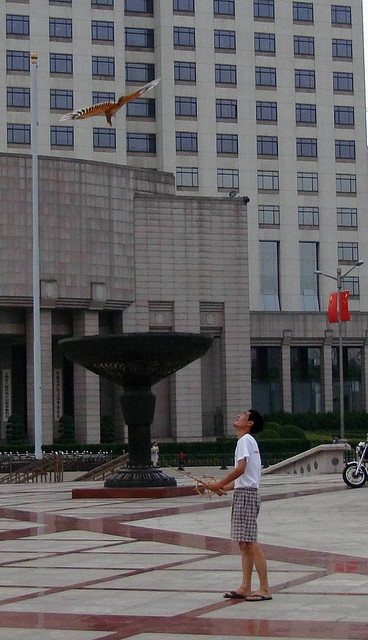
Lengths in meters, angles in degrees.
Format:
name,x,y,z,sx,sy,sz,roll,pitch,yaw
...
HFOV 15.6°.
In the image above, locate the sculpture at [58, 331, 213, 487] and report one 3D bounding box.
name,x,y,z,sx,sy,sz,roll,pitch,yaw
sculpture,-0.865,1.981,28.182,2.996,3.313,3.373,0,-3,-25
